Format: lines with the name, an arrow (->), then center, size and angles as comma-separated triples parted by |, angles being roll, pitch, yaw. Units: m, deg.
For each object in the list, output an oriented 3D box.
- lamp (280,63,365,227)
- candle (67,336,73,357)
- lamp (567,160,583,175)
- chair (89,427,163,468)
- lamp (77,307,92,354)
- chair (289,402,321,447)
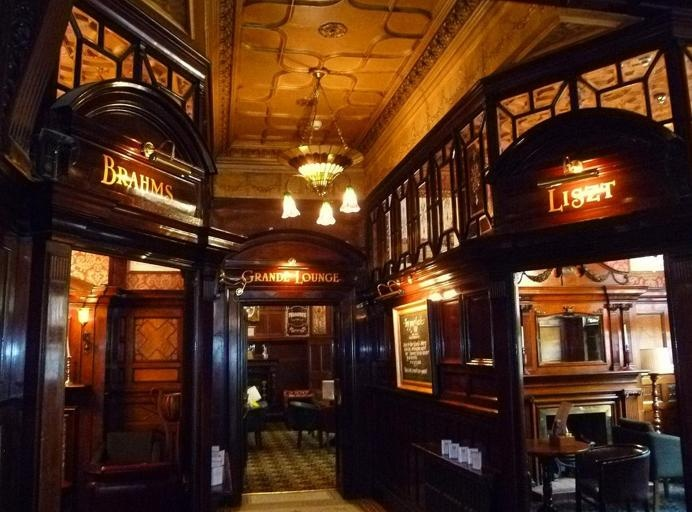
lamp -> -0.323, -1.134, 7.361 | 0.946, 1.689, 2.422 | -2, -12, -1
candle -> -3.223, 1.048, 6.792 | 0.048, 0.241, 0.182 | 2, -13, -20
lamp -> 1.894, -0.727, 4.808 | 0.118, 0.115, 0.121 | -6, 11, -20
chair -> -2.459, 2.154, 6.568 | 0.705, 0.329, 0.391 | 2, -13, -20
lamp -> -3.088, 0.853, 6.887 | 0.133, 0.516, 0.093 | -2, -12, 1
chair -> -0.777, 3.296, 11.461 | 0.780, 0.856, 0.777 | -2, -9, 2
